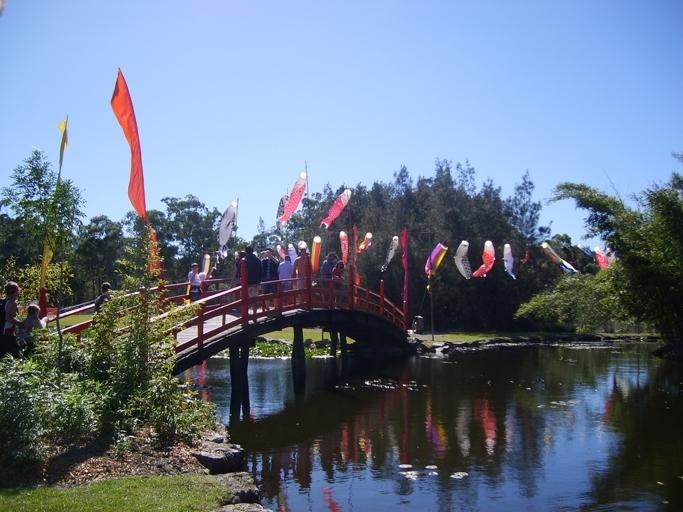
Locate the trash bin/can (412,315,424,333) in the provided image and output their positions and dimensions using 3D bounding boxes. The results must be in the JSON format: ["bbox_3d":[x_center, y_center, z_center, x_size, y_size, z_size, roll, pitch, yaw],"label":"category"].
[{"bbox_3d":[4.691,4.136,40.566,0.541,1.205,2.296,-3,-11,5],"label":"trash bin/can"}]

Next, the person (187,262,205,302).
[{"bbox_3d":[-4.957,0.818,22.420,0.494,1.842,3.208,0,-12,-12],"label":"person"}]
